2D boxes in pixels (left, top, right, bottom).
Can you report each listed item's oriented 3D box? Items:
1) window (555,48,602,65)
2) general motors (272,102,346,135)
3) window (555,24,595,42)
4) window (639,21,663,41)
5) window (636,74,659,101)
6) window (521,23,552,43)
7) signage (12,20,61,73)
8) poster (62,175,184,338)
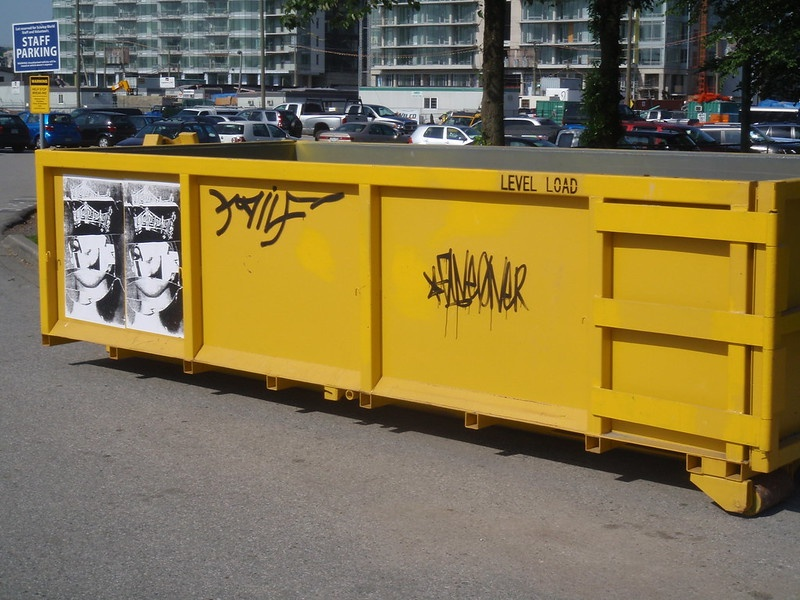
[{"bbox_3d":[22.499,-31.590,116.592,1.081,2.244,5.857,-11,17,-41],"label":"window"},{"bbox_3d":[-5.671,-12.228,59.709,4.965,1.898,2.505,18,24,38],"label":"general motors"},{"bbox_3d":[22.002,-34.339,115.590,1.583,2.557,4.950,-10,16,-38],"label":"window"},{"bbox_3d":[30.612,-33.089,110.587,2.667,2.193,0.735,7,14,30],"label":"window"},{"bbox_3d":[30.710,-26.914,112.352,2.757,2.849,1.247,1,12,4],"label":"window"},{"bbox_3d":[17.775,-35.206,118.272,4.195,2.860,2.316,10,16,40],"label":"window"},{"bbox_3d":[-5.787,-4.079,14.455,0.887,0.791,0.016,1,3,15],"label":"signage"},{"bbox_3d":[-2.398,-0.406,7.812,1.619,1.363,0.066,7,9,30],"label":"poster"}]
